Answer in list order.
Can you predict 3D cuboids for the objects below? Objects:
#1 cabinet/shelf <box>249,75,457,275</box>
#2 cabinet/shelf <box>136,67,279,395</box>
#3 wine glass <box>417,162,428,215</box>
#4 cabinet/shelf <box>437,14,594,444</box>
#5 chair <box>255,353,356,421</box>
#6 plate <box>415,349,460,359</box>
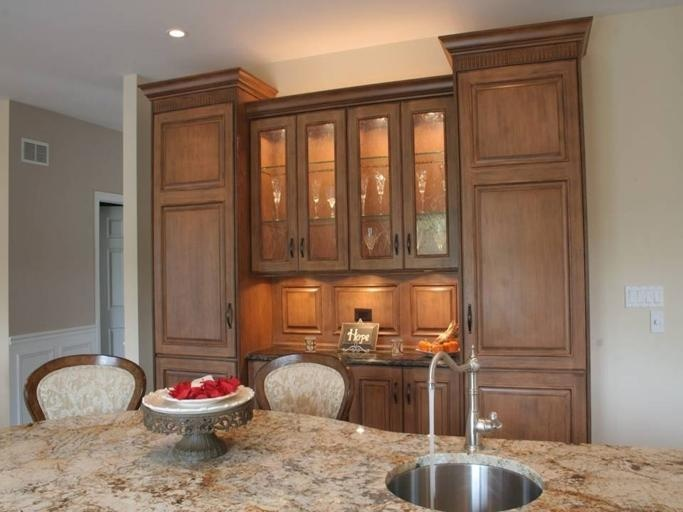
[{"bbox_3d":[0.119,-0.536,3.982,1.383,1.252,0.424,-1,-2,16],"label":"cabinet/shelf"},{"bbox_3d":[-1.146,-0.121,4.360,0.574,2.259,0.390,0,23,-8],"label":"cabinet/shelf"},{"bbox_3d":[0.558,-0.464,3.857,0.079,0.332,0.063,1,9,12],"label":"wine glass"},{"bbox_3d":[1.159,0.200,3.682,0.866,3.209,0.591,-1,0,17],"label":"cabinet/shelf"},{"bbox_3d":[-0.178,0.720,3.229,0.408,0.603,0.423,-1,-9,8],"label":"chair"},{"bbox_3d":[0.663,0.686,3.832,0.292,0.042,0.297,0,-5,-6],"label":"plate"}]
